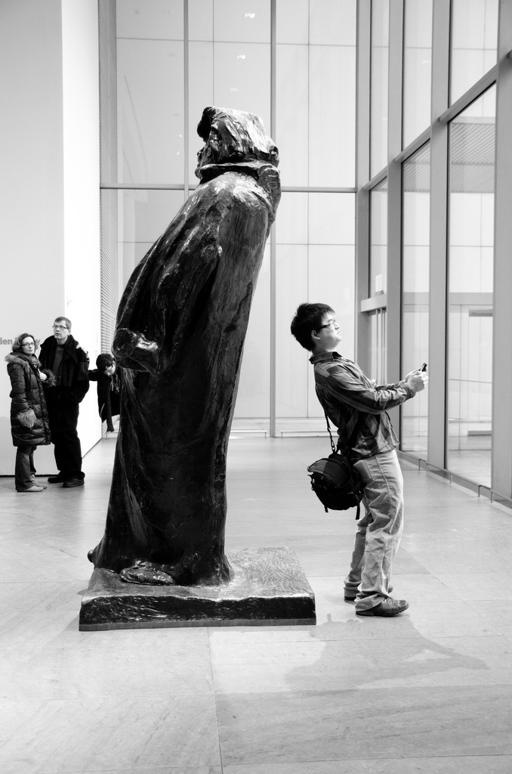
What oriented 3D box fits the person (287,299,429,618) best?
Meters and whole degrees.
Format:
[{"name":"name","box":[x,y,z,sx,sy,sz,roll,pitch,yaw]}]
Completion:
[{"name":"person","box":[0.474,0.342,3.643,0.359,1.406,0.569,-7,11,-36]}]

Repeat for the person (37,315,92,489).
[{"name":"person","box":[-1.943,0.134,8.148,0.573,1.667,0.501,0,0,27]}]

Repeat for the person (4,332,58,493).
[{"name":"person","box":[-2.134,0.244,7.577,0.327,1.425,0.373,-1,9,-2]}]

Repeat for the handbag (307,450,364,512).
[{"name":"handbag","box":[0.346,0.439,3.587,0.233,0.296,0.215,1,9,7]}]

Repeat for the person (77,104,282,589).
[{"name":"person","box":[-0.317,-0.016,3.438,0.745,1.711,0.380,-2,9,-9]}]

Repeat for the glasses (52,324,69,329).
[{"name":"glasses","box":[-1.905,-0.589,7.974,0.144,0.069,0.121,-3,10,-13]}]
